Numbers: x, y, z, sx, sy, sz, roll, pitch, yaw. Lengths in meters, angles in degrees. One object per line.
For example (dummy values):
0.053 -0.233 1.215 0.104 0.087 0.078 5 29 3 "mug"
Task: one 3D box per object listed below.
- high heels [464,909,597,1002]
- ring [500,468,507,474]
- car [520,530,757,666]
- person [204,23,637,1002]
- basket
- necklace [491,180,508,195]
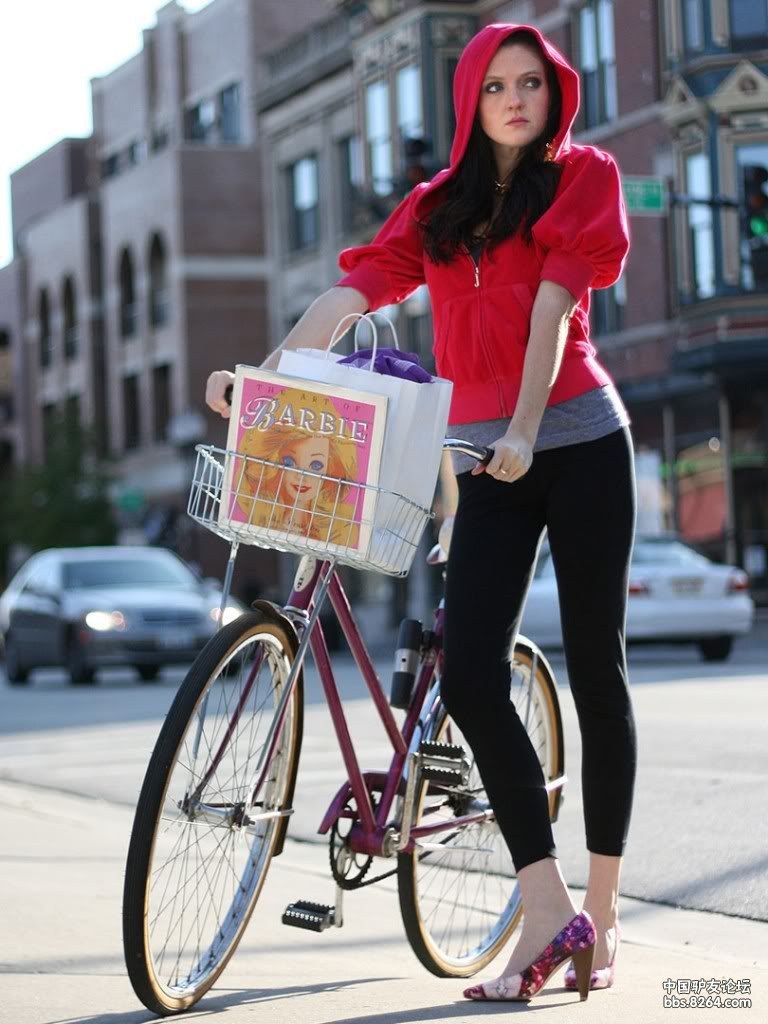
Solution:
0.316 0.866 3.008 0.295 0.184 0.114 -6 -9 17 "high heels"
0.213 -0.070 2.733 0.003 0.010 0.010 -12 -6 -22 "ring"
2.599 0.766 15.149 1.232 0.855 2.585 -1 1 -5 "car"
0.135 -0.029 2.911 1.032 1.872 0.671 6 -12 -30 "person"
-0.138 -0.018 2.843 0.386 0.134 0.244 20 -12 5 "basket"
0.227 -0.623 3.006 0.028 0.027 0.007 -13 -8 26 "necklace"
